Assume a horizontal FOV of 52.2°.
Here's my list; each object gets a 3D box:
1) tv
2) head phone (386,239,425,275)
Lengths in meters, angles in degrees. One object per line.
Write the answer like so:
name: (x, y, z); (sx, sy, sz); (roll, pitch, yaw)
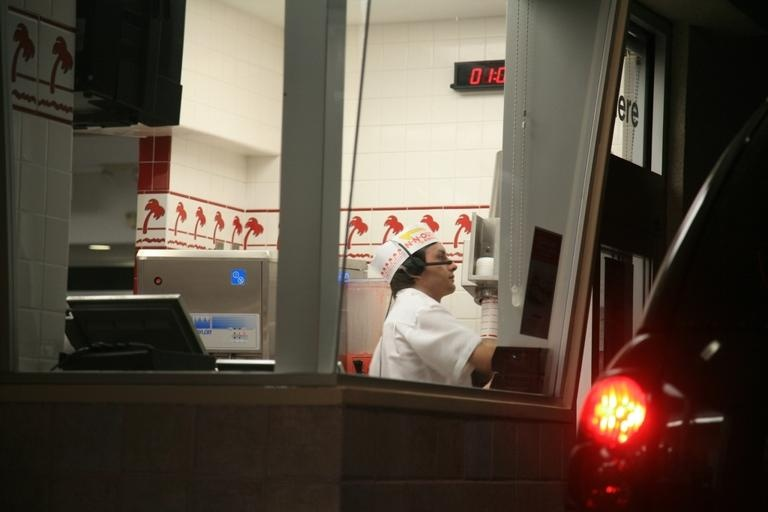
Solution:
tv: (-0.941, 0.253, 2.863); (0.563, 0.235, 0.190); (5, 14, 25)
head phone: (0.046, 0.009, 2.633); (0.092, 0.067, 0.120); (-17, 10, 33)
